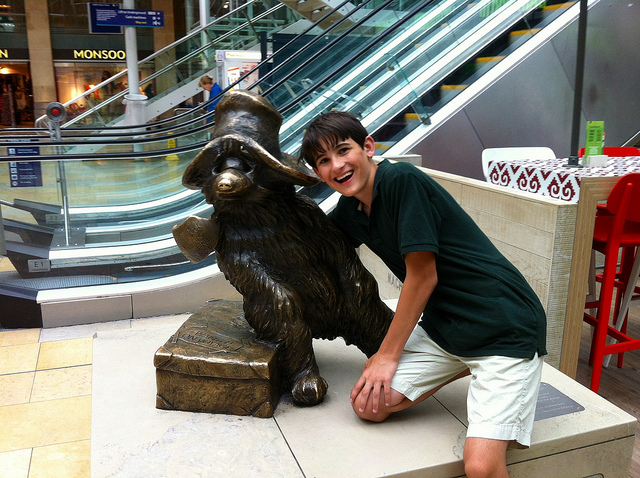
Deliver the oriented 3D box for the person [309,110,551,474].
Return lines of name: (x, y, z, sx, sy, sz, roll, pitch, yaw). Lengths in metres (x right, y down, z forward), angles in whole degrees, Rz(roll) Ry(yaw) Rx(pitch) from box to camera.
person: (0.443, 0.182, 2.256, 0.984, 1.392, 0.505, 13, 19, 38)
